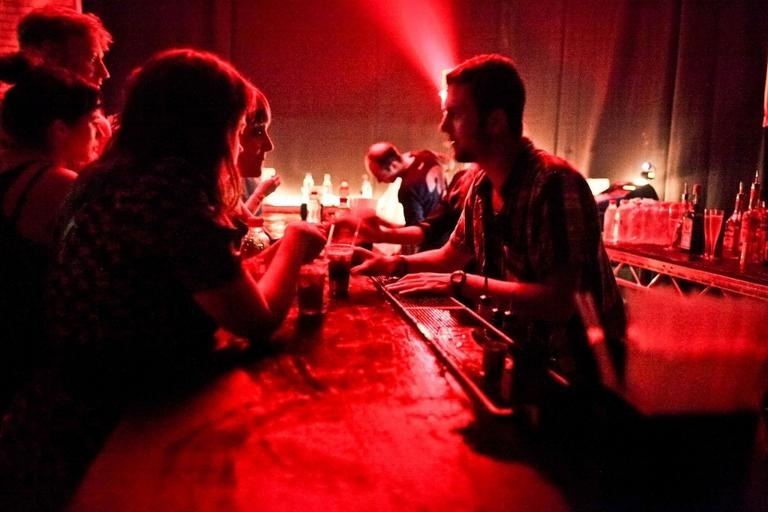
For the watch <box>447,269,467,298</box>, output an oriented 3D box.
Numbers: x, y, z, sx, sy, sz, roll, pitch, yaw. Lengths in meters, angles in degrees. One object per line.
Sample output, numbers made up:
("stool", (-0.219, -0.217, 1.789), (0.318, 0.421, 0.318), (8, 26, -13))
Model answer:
("watch", (0.300, 0.108, 2.027), (0.034, 0.094, 0.078), (21, -17, -37))
